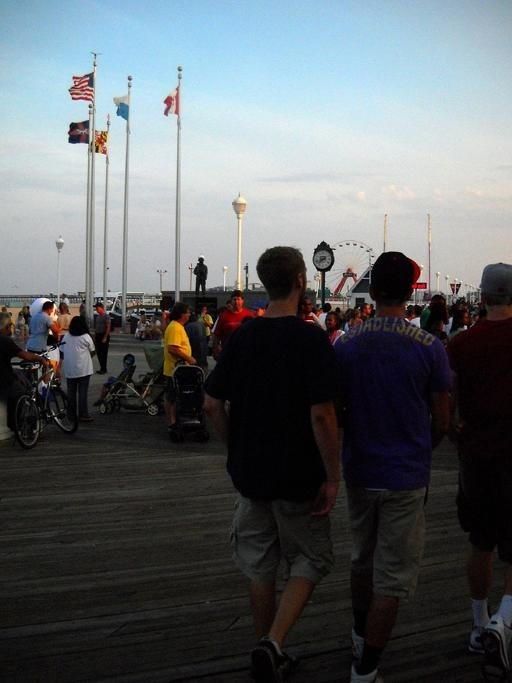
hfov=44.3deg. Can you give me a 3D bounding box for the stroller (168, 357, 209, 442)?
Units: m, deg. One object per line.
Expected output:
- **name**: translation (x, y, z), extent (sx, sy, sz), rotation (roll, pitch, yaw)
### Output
- **stroller**: translation (-0.983, 0.885, 9.068), extent (0.542, 1.092, 0.592), rotation (0, -1, -9)

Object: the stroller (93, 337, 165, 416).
- **stroller**: translation (-2.395, 0.763, 12.250), extent (1.479, 1.727, 1.058), rotation (2, 0, 4)

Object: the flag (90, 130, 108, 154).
- **flag**: translation (-9.171, -11.682, 36.851), extent (0.479, 1.590, 1.922), rotation (0, 0, -5)

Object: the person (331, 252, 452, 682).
- **person**: translation (0.545, 0.468, 2.549), extent (0.503, 1.675, 0.370), rotation (1, -1, -32)

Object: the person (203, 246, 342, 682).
- **person**: translation (0.080, 0.470, 2.409), extent (0.497, 1.692, 0.638), rotation (0, -1, -16)

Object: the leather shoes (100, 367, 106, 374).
- **leather shoes**: translation (-4.416, 0.850, 18.106), extent (0.159, 0.249, 0.135), rotation (-5, 1, 35)

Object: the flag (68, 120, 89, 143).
- **flag**: translation (-9.239, -10.881, 32.779), extent (0.980, 1.239, 0.692), rotation (0, -1, -19)
